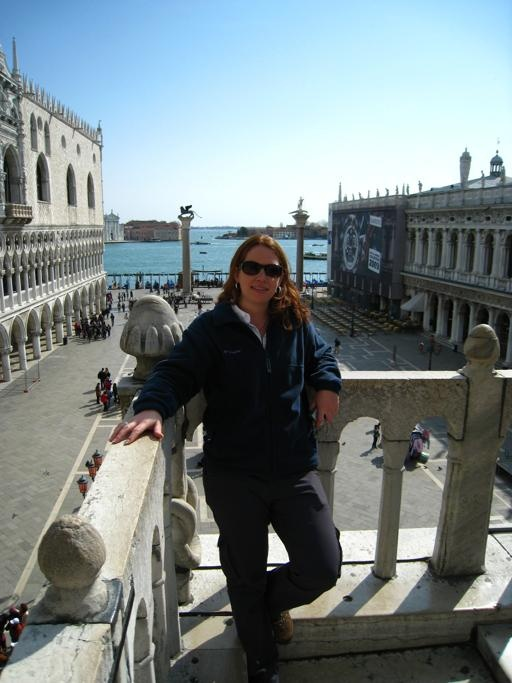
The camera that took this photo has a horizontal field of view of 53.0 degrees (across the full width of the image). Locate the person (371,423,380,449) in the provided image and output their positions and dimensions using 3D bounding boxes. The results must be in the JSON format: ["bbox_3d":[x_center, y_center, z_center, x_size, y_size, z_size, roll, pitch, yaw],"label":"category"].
[{"bbox_3d":[4.570,3.602,19.555,0.275,1.100,1.239,4,11,14],"label":"person"}]

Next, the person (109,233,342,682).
[{"bbox_3d":[-0.034,0.723,2.904,1.073,2.591,0.996,1,11,-2],"label":"person"}]
